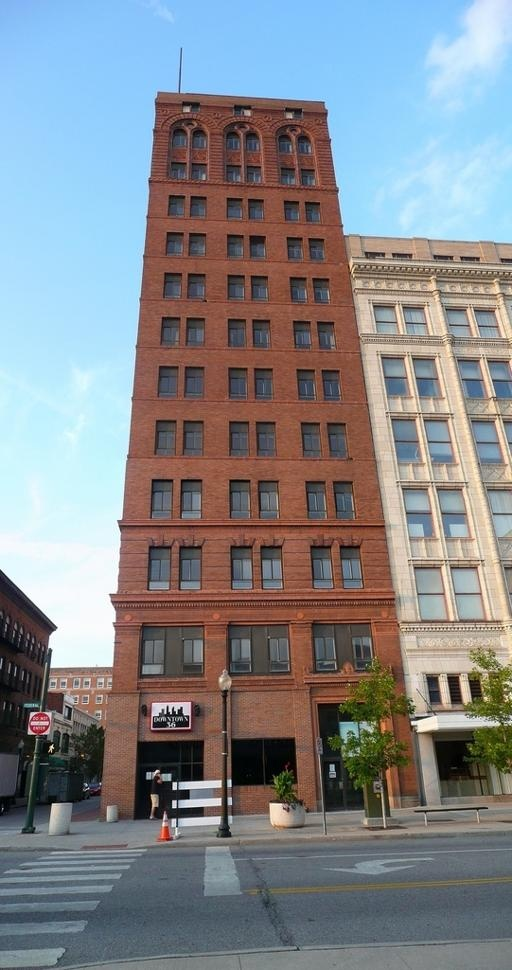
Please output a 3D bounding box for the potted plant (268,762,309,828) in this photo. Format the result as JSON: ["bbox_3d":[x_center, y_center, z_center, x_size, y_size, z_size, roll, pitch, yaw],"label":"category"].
[{"bbox_3d":[0.991,10.332,20.151,1.050,1.681,0.859,-11,-24,15],"label":"potted plant"}]
